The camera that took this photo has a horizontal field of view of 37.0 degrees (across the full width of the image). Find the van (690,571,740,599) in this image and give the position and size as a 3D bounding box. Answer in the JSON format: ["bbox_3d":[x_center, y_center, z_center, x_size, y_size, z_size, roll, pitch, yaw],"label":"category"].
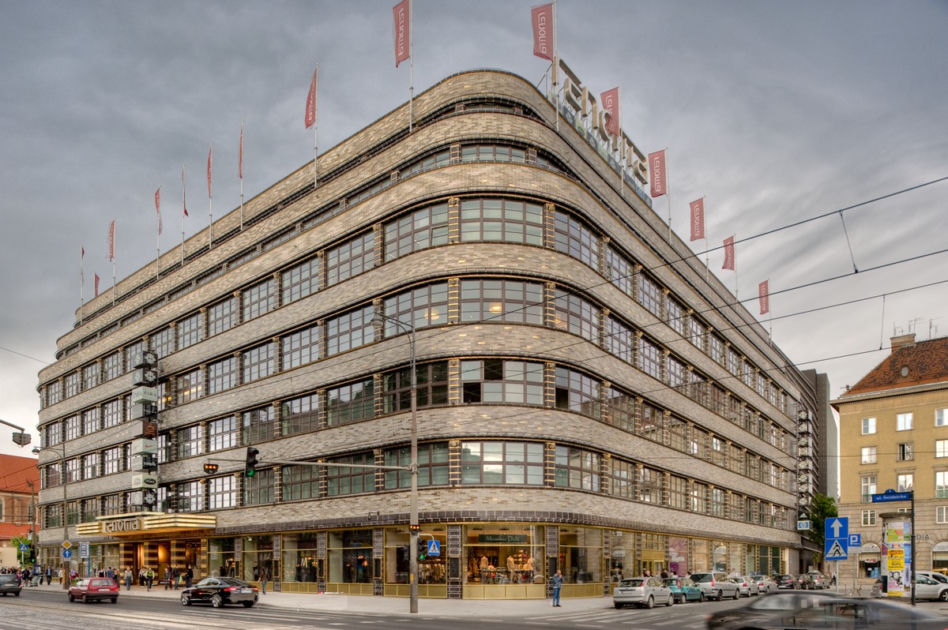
[{"bbox_3d":[22.074,24.637,128.919,2.204,1.492,4.404,-4,-6,36],"label":"van"}]

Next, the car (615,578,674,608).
[{"bbox_3d":[13.958,23.420,119.297,5.082,2.820,1.969,15,-27,-35],"label":"car"}]

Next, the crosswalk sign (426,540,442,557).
[{"bbox_3d":[-3.393,19.537,119.954,1.188,1.624,1.566,-1,-22,-2],"label":"crosswalk sign"}]

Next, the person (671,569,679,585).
[{"bbox_3d":[18.044,23.774,128.253,0.929,1.262,2.510,-4,-18,12],"label":"person"}]

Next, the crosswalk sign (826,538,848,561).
[{"bbox_3d":[27.078,17.484,106.341,1.810,1.727,0.177,-3,-15,24],"label":"crosswalk sign"}]

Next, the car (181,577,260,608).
[{"bbox_3d":[-21.318,23.549,119.981,6.466,3.086,1.745,-10,-23,19],"label":"car"}]
